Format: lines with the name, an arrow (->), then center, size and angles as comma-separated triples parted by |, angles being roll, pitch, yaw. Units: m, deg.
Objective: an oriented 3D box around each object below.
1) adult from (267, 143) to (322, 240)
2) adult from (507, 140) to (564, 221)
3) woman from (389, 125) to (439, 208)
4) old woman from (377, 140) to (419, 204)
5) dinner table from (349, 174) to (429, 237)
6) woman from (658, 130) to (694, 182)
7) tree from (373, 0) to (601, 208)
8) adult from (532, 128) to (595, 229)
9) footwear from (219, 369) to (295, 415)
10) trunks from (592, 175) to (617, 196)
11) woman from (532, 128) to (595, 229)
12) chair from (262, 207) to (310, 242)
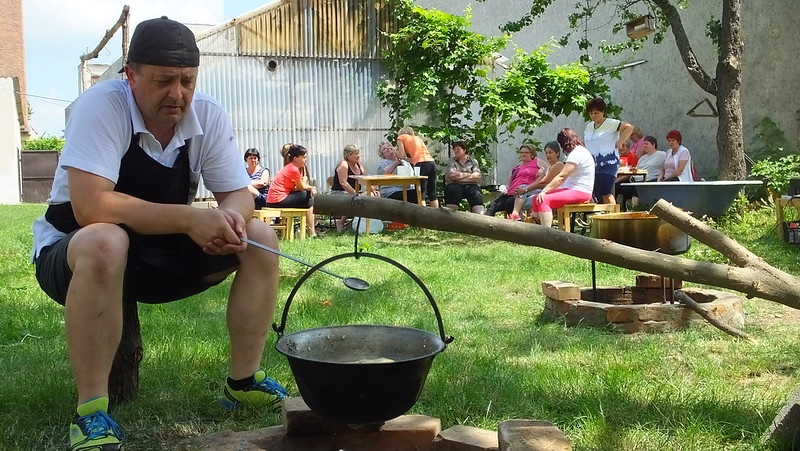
adult -> -1.855, -0.571, 12.943 | 0.998, 1.630, 0.682 | -1, 23, -29
adult -> 2.226, -0.690, 12.623 | 0.819, 1.367, 0.477 | 11, 8, 3
woman -> 0.229, -0.943, 13.666 | 0.903, 1.761, 0.677 | -12, -9, 42
old woman -> -0.067, -0.925, 13.804 | 0.623, 1.279, 0.792 | -10, -8, -21
dinner table -> -0.139, -0.353, 12.679 | 1.026, 0.947, 1.022 | -1, 6, -10
woman -> 4.708, -1.174, 13.579 | 0.776, 0.978, 0.717 | 5, 2, 38
tree -> 1.538, -2.937, 15.863 | 4.302, 3.814, 3.679 | 4, 13, 3
adult -> 2.501, -0.637, 11.937 | 0.942, 1.729, 0.744 | 2, 10, 5
footwear -> -1.210, 1.390, 6.481 | 0.655, 0.322, 0.261 | 0, 10, -5
trunks -> 3.305, -0.666, 12.631 | 0.209, 0.348, 0.343 | 3, 1, -41
woman -> 2.505, -0.613, 11.914 | 0.906, 1.709, 0.718 | 2, 7, -3
chair -> -1.828, -0.061, 12.414 | 0.631, 0.433, 0.666 | 0, -1, -2
